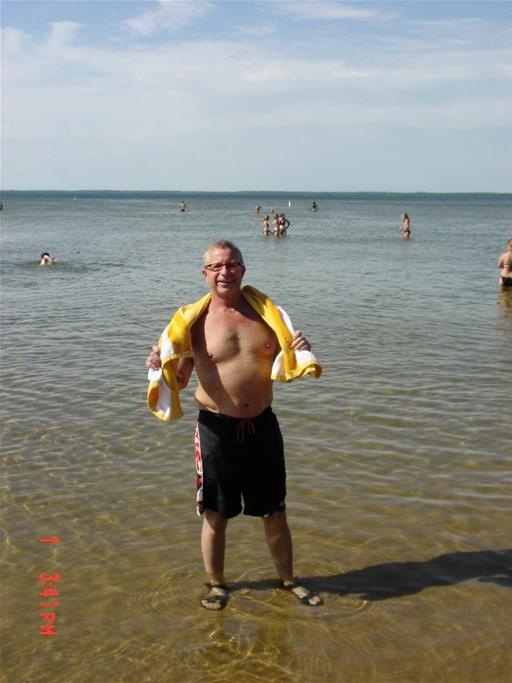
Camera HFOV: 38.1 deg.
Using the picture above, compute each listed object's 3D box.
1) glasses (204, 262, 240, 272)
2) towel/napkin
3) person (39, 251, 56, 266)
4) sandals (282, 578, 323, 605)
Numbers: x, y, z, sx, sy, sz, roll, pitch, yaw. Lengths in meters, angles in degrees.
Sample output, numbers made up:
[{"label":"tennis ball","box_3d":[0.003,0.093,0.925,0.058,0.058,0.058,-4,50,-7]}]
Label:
[{"label":"glasses","box_3d":[-0.205,-0.454,4.502,0.209,0.053,0.081,-3,7,-1]},{"label":"towel/napkin","box_3d":[-0.135,0.048,4.608,1.131,0.737,0.371,-4,1,-9]},{"label":"person","box_3d":[-6.727,-2.611,23.780,0.416,0.438,0.901,-6,7,-14]},{"label":"sandals","box_3d":[0.296,1.643,4.835,0.104,0.087,0.272,-15,14,-37]}]
